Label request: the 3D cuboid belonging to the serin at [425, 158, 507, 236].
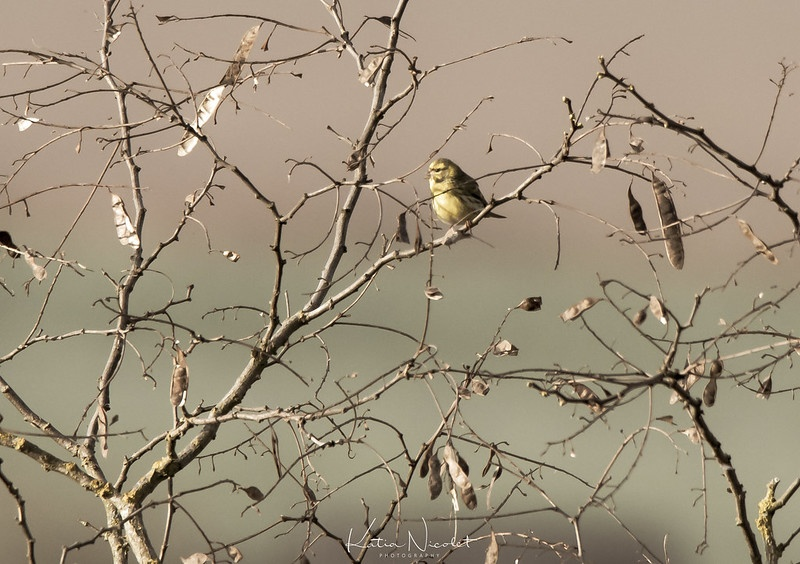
[{"bbox_3d":[0.385,-0.512,6.619,0.515,0.303,0.393,-5,-94,-36],"label":"serin"}]
